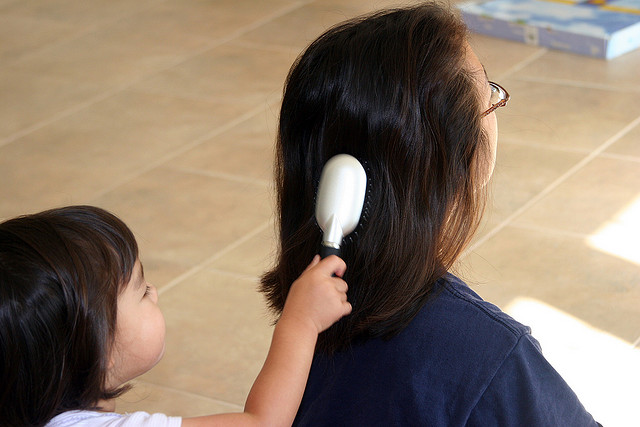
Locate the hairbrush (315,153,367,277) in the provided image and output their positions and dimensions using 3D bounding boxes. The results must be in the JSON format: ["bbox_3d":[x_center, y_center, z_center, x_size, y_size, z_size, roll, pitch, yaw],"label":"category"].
[{"bbox_3d":[0.039,0.001,1.085,0.062,0.220,0.058,14,10,11],"label":"hairbrush"}]
